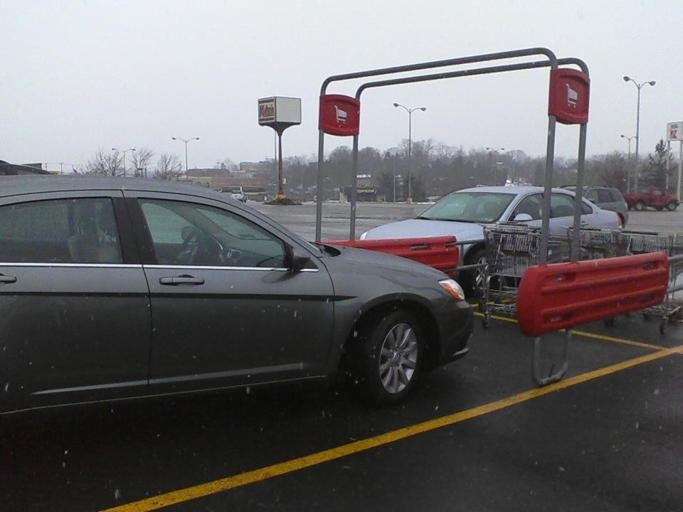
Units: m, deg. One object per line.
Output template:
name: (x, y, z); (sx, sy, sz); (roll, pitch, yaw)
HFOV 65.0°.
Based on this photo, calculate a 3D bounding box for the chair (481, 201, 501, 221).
chair: (2.591, -0.740, 8.993); (0.327, 0.250, 0.551); (3, 10, 15)

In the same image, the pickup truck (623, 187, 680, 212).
pickup truck: (23.908, -4.301, 41.071); (3.102, 1.636, 6.279); (8, 12, 36)
